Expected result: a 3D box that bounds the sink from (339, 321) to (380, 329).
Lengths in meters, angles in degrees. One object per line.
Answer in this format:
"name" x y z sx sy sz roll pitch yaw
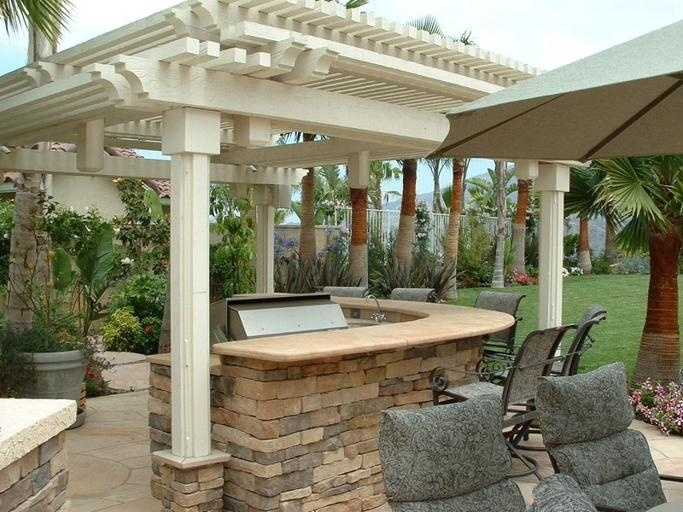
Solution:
"sink" 0.188 0.685 5.228 0.276 0.087 0.708 -11 -9 7
